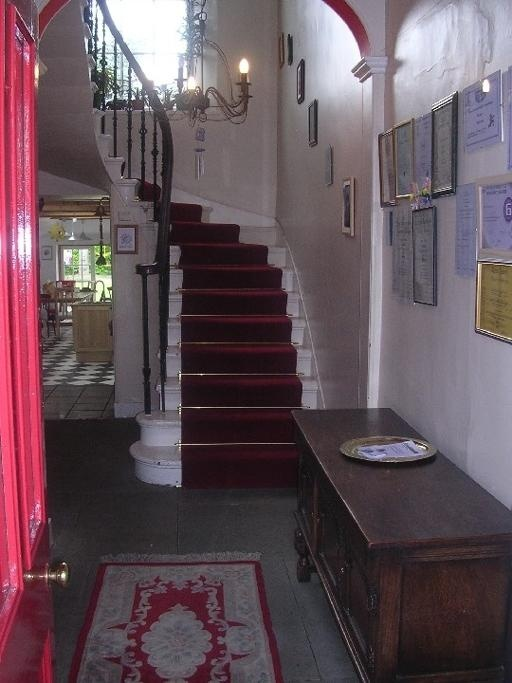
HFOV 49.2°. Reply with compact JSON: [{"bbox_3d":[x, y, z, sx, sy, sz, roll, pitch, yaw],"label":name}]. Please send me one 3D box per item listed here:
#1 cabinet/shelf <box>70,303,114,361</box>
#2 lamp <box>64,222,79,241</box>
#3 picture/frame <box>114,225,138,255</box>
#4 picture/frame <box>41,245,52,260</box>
[{"bbox_3d":[-2.551,-0.153,8.784,0.404,0.780,0.693,1,7,-3],"label":"cabinet/shelf"},{"bbox_3d":[-5.164,-3.106,15.726,0.506,0.559,0.582,-1,6,-14],"label":"lamp"},{"bbox_3d":[-1.175,-0.934,5.049,0.179,0.319,0.019,-1,5,-19],"label":"picture/frame"},{"bbox_3d":[-5.913,-2.501,15.845,0.346,0.432,0.165,1,5,5],"label":"picture/frame"}]
